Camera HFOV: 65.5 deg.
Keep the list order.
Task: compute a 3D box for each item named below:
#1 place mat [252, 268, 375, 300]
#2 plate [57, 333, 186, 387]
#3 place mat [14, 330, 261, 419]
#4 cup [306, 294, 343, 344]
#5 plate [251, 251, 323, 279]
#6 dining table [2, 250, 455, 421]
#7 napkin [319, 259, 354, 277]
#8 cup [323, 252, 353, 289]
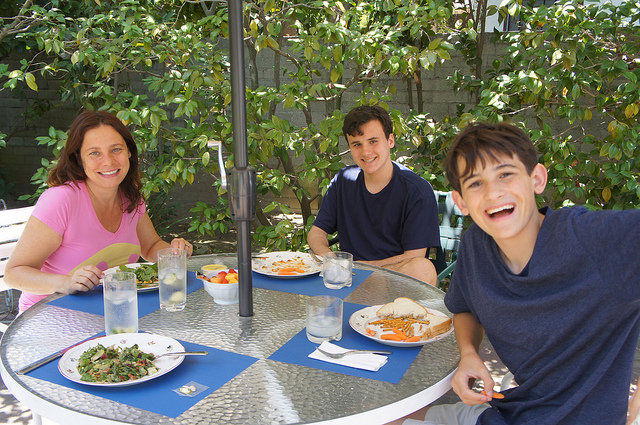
[{"bbox_3d":[-0.052,0.307,2.192,0.523,0.058,0.280,1,5,8],"label":"place mat"},{"bbox_3d":[-0.610,0.446,1.612,0.404,0.111,0.437,-2,-5,17],"label":"plate"},{"bbox_3d":[-0.550,0.501,1.581,0.602,0.111,0.341,2,5,21],"label":"place mat"},{"bbox_3d":[0.018,0.380,1.790,0.163,0.160,0.152,0,2,0],"label":"cup"},{"bbox_3d":[-0.149,0.253,2.287,0.353,0.043,0.320,1,16,-12],"label":"plate"},{"bbox_3d":[-0.260,0.463,1.789,1.045,0.236,0.958,1,15,3],"label":"dining table"},{"bbox_3d":[0.056,0.243,2.174,0.106,0.069,0.080,2,5,7],"label":"napkin"},{"bbox_3d":[0.087,0.258,2.186,0.142,0.134,0.128,-3,8,-16],"label":"cup"}]
